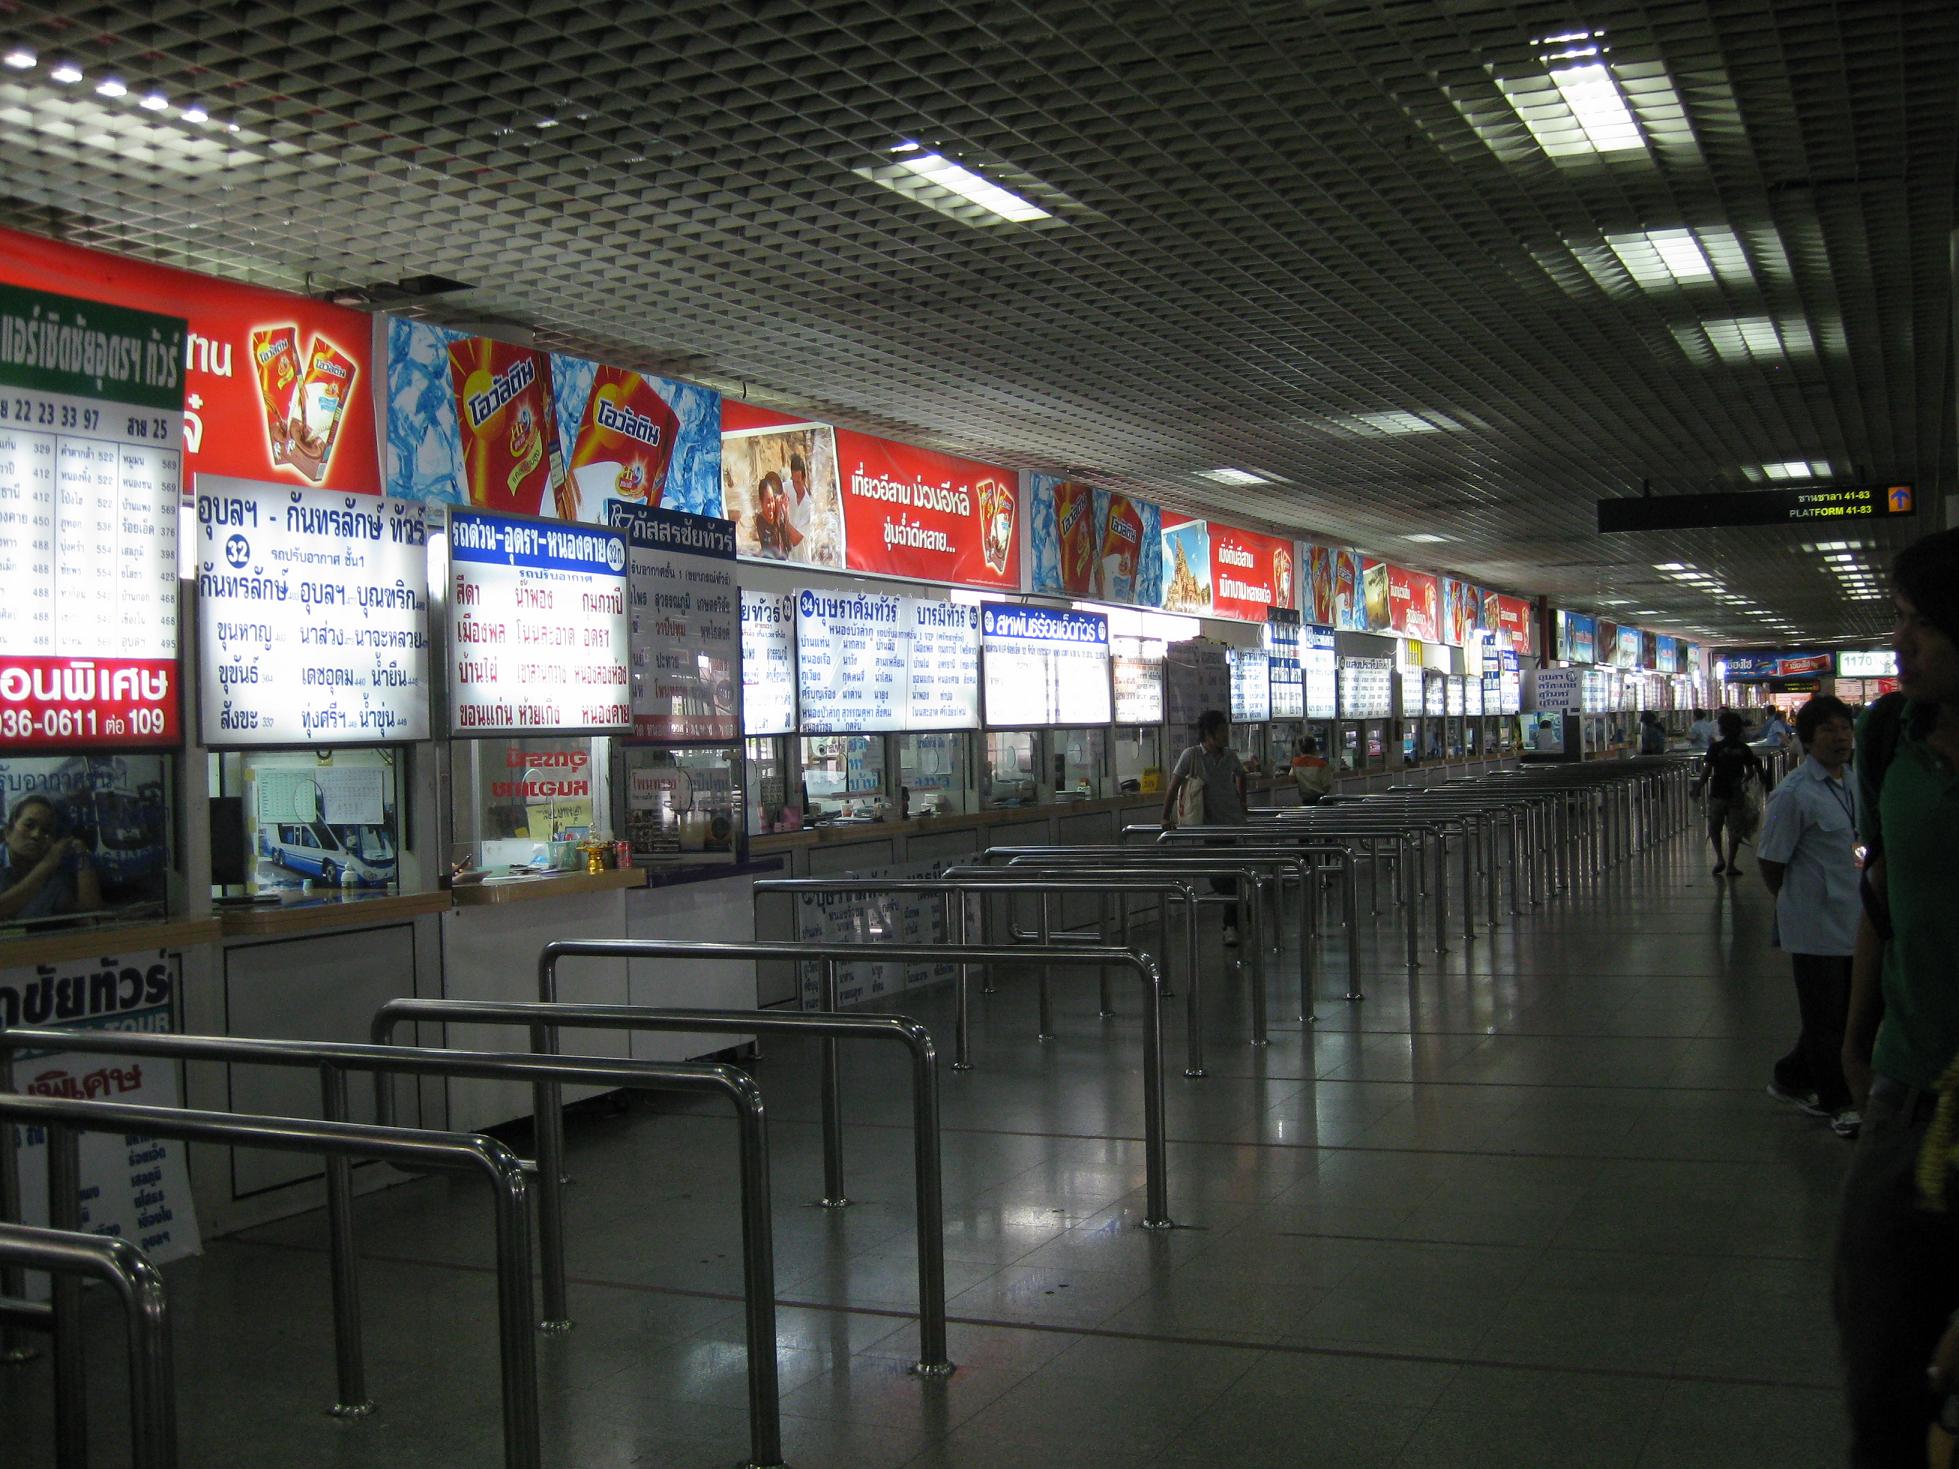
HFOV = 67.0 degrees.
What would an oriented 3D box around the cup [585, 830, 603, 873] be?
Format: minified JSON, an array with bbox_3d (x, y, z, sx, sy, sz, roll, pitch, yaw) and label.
[{"bbox_3d":[-1.953,0.603,7.427,0.087,0.175,0.296,-3,-1,-15],"label":"cup"}]
